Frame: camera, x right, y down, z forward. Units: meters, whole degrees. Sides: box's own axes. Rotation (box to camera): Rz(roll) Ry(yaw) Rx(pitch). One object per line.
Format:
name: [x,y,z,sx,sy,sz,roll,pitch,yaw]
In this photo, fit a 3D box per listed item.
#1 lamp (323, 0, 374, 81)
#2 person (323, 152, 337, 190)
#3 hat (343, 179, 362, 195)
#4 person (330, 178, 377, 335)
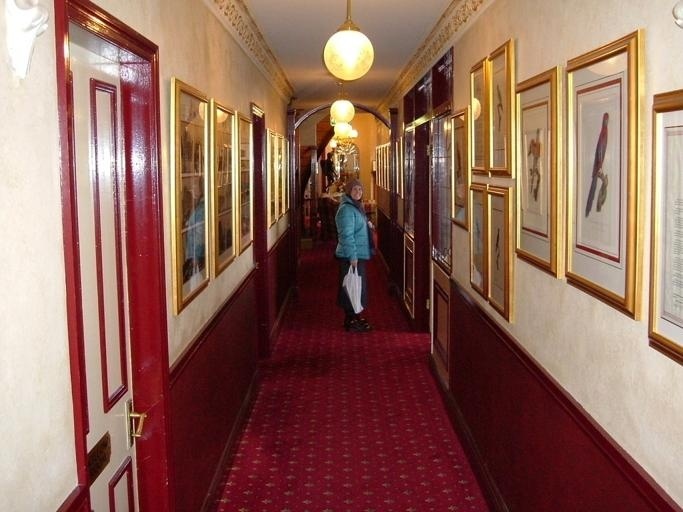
lamp: [0.058,-1.461,3.300,0.315,0.624,0.835,0,9,3]
person: [-0.415,-3.226,18.457,0.318,1.299,0.715,-3,7,-22]
hat: [0.179,-1.107,7.509,0.197,0.271,0.294,-7,-5,-15]
person: [0.212,-0.005,7.704,0.571,2.365,0.913,0,7,3]
